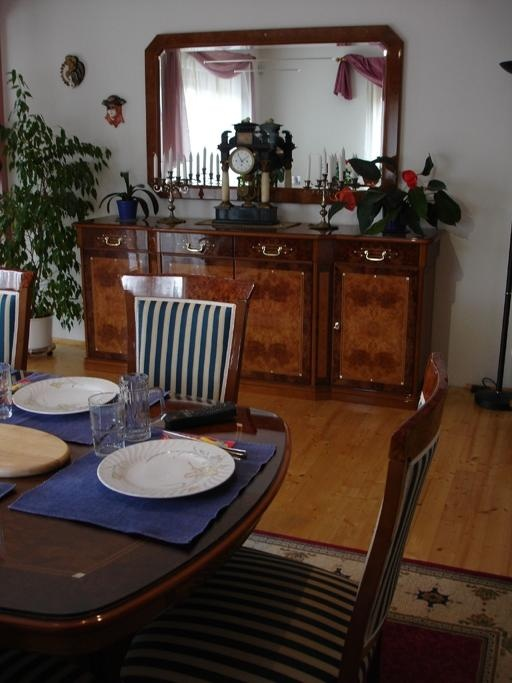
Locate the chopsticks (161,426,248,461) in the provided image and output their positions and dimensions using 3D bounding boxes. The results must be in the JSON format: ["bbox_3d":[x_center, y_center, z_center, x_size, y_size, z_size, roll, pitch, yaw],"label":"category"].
[{"bbox_3d":[-0.106,0.208,1.099,0.138,0.016,0.015,10,34,17],"label":"chopsticks"}]

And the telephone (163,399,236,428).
[{"bbox_3d":[-0.130,0.156,1.249,0.123,0.032,0.062,-5,5,-36],"label":"telephone"}]

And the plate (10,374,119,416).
[{"bbox_3d":[-0.484,0.132,1.380,0.143,0.015,0.141,-7,25,-27],"label":"plate"}]

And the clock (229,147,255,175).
[{"bbox_3d":[-0.091,-1.233,3.673,0.179,0.183,0.033,3,12,22],"label":"clock"}]

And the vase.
[{"bbox_3d":[0.905,-0.818,3.372,0.639,0.332,0.642,-3,29,-2],"label":"vase"}]

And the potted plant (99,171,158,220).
[{"bbox_3d":[-0.932,-1.053,4.047,0.417,0.319,0.446,-3,15,-6],"label":"potted plant"}]

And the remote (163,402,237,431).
[{"bbox_3d":[-0.127,0.155,1.234,0.126,0.033,0.061,-8,13,-30],"label":"remote"}]
